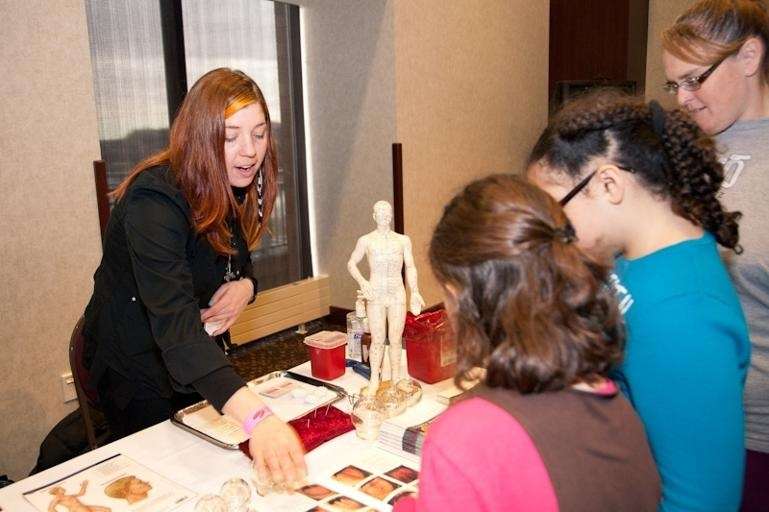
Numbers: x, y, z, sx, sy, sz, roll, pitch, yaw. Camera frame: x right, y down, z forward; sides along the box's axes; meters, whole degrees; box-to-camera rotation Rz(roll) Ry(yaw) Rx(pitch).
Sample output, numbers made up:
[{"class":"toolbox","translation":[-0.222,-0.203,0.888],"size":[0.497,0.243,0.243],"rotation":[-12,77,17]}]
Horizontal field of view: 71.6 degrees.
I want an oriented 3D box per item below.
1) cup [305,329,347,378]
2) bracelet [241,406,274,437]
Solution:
[{"class":"cup","translation":[-0.232,0.406,2.278],"size":[0.174,0.185,0.170],"rotation":[-1,7,0]},{"class":"bracelet","translation":[-0.368,0.478,1.611],"size":[0.090,0.082,0.087],"rotation":[-38,-8,-12]}]
